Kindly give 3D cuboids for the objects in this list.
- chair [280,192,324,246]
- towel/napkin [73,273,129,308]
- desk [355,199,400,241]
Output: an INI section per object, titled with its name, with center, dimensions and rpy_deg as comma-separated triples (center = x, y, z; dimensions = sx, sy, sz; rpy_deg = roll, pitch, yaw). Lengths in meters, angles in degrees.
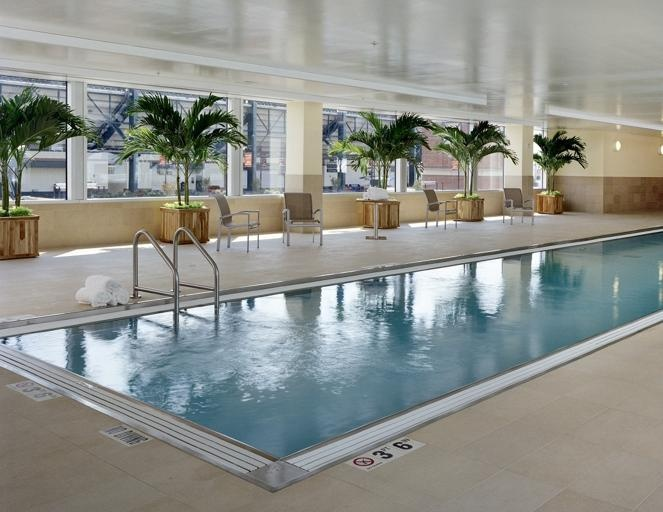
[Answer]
[chair]
center = -0.770, -0.982, 11.617
dimensions = 0.888, 1.342, 2.699
rpy_deg = -1, 4, -5
[towel/napkin]
center = -2.787, 0.415, 5.592
dimensions = 0.505, 0.333, 0.505
rpy_deg = -4, 5, -42
[desk]
center = 1.271, -1.133, 13.737
dimensions = 1.476, 1.214, 1.462
rpy_deg = 0, 1, 40
